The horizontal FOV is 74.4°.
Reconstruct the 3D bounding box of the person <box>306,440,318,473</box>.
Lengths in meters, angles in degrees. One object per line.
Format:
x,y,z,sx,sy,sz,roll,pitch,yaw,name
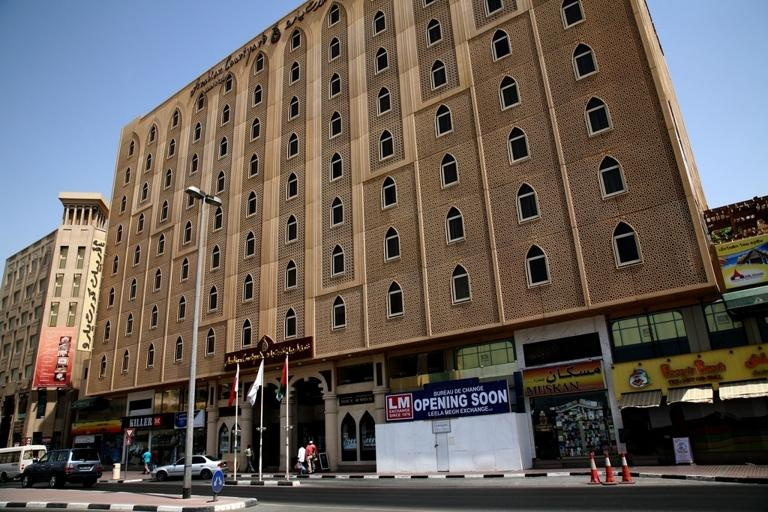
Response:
-4.909,13.798,34.495,0.594,1.850,1.483,-6,-23,2,person

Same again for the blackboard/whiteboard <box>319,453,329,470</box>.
-4.200,14.280,35.038,0.710,1.168,0.475,-2,-23,-8,blackboard/whiteboard

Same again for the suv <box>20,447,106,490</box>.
-19.670,12.968,30.607,5.174,2.213,1.971,-12,-24,16,suv
